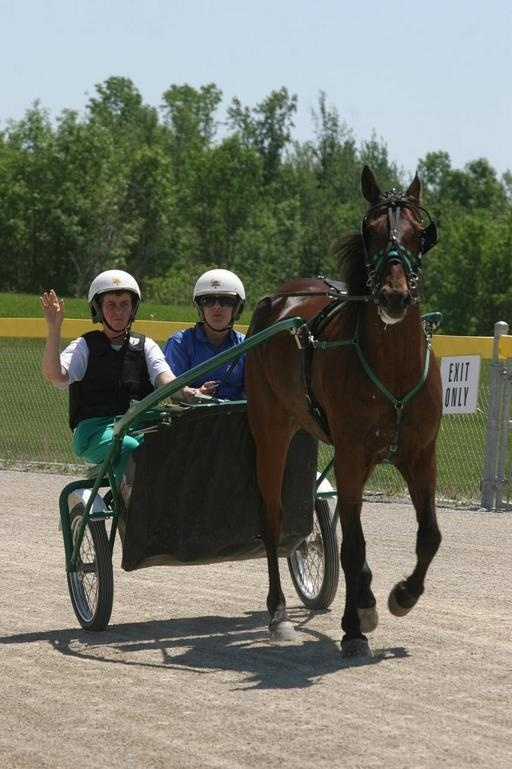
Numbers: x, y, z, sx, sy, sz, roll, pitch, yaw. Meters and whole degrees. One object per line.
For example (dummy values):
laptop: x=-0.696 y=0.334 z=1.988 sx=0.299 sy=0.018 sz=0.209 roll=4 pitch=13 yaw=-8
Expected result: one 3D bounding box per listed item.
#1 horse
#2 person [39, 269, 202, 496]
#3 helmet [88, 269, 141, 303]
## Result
horse: x=0.433 y=0.125 z=4.203 sx=0.625 sy=1.997 sz=1.563 roll=0 pitch=3 yaw=-13
person: x=-0.724 y=0.024 z=5.001 sx=0.735 sy=1.130 sz=0.656 roll=-7 pitch=8 yaw=-27
helmet: x=-0.731 y=-0.493 z=5.005 sx=0.204 sy=0.161 sz=0.216 roll=0 pitch=-20 yaw=-8
